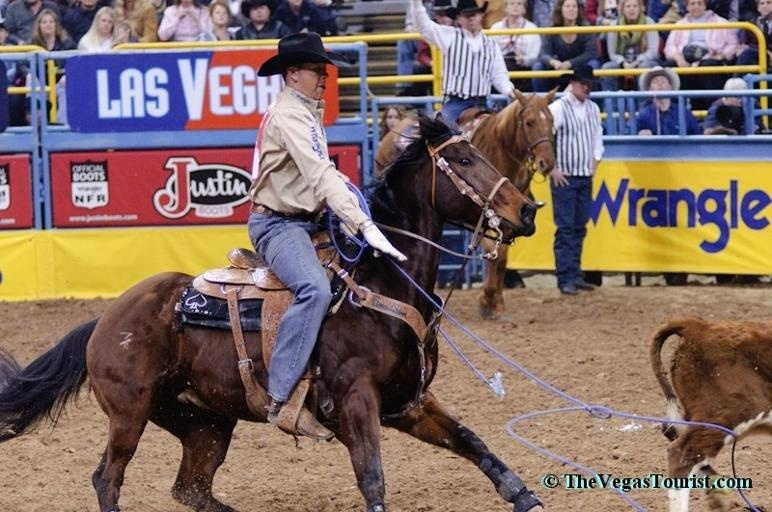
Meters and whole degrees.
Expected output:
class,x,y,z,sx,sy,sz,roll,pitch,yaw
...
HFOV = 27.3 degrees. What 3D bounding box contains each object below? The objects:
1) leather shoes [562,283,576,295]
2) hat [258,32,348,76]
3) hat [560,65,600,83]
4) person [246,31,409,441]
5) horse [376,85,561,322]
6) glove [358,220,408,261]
class,x,y,z,sx,sy,sz,roll,pitch,yaw
leather shoes,2.314,0.425,19.996,0.161,0.108,0.053,10,-21,27
hat,-0.927,-1.956,15.905,0.597,0.252,0.480,-15,-7,13
hat,2.429,-2.227,19.735,0.265,0.224,0.573,1,11,-1
person,-0.803,-0.214,15.813,0.970,3.863,1.180,-3,11,-23
horse,1.113,-0.503,19.920,0.767,2.511,3.042,6,-13,-33
glove,-0.088,-0.151,15.543,0.225,0.209,0.684,-20,51,-33
